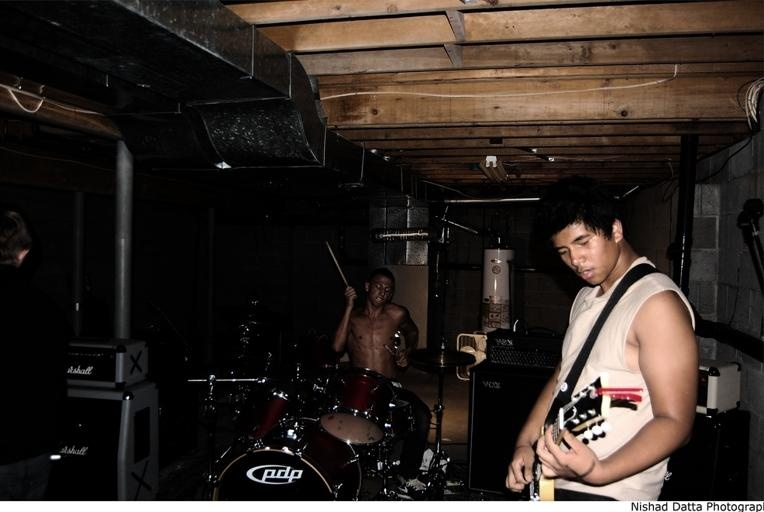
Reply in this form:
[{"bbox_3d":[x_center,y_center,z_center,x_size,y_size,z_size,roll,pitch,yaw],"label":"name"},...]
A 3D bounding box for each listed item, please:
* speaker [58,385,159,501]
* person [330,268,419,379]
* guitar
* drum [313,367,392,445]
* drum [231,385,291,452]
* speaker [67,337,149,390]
[{"bbox_3d":[-2.167,1.495,5.217,0.735,0.945,0.726,3,1,-15],"label":"speaker"},{"bbox_3d":[-0.011,0.655,6.480,0.705,1.057,0.433,4,-6,7],"label":"person"},{"bbox_3d":[1.004,1.003,3.542,0.465,0.724,0.262,1,-7,36],"label":"guitar"},{"bbox_3d":[-0.221,1.196,5.156,0.589,0.327,0.562,9,-39,7],"label":"drum"},{"bbox_3d":[-1.112,1.271,5.454,0.569,0.520,0.423,-5,-19,-10],"label":"drum"},{"bbox_3d":[-2.153,0.820,5.125,0.521,0.318,0.374,3,1,13],"label":"speaker"}]
